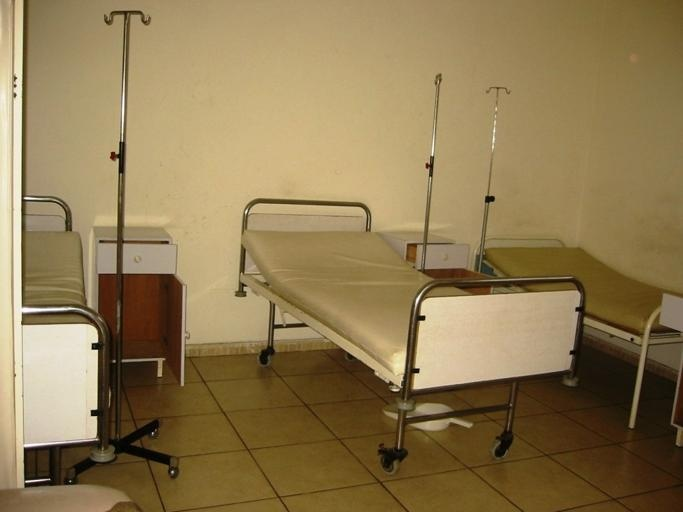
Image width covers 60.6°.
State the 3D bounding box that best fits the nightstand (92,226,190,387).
[{"bbox_3d":[-1.382,0.366,3.931,0.554,0.897,1.004,2,-1,-24],"label":"nightstand"}]

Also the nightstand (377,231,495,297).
[{"bbox_3d":[0.738,-0.013,4.729,0.554,0.379,0.576,1,11,-8],"label":"nightstand"}]

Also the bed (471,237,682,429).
[{"bbox_3d":[2.041,0.494,4.627,0.923,0.747,1.612,-3,14,-16],"label":"bed"}]

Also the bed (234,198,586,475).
[{"bbox_3d":[0.195,0.434,4.140,1.254,1.358,2.589,1,10,-26],"label":"bed"}]
